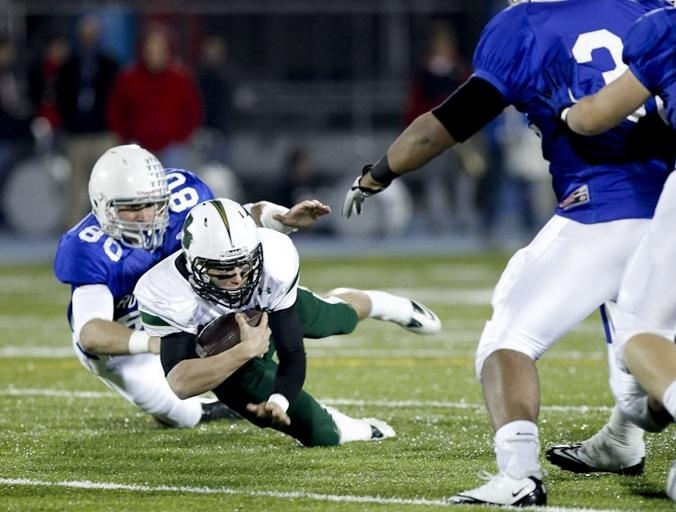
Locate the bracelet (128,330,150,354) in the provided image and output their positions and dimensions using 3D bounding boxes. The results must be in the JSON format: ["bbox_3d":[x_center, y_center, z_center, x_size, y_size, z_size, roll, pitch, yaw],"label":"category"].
[{"bbox_3d":[-0.699,0.303,3.608,0.072,0.077,0.075,3,-1,6],"label":"bracelet"}]

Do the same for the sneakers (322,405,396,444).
[{"bbox_3d":[0.095,0.612,3.691,0.191,0.059,0.144,11,47,-49],"label":"sneakers"}]

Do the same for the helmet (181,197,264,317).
[{"bbox_3d":[-0.417,-0.033,3.454,0.246,0.285,0.344,-9,44,-24],"label":"helmet"}]

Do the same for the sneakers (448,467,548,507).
[{"bbox_3d":[0.455,0.656,2.924,0.278,0.116,0.094,1,-11,7],"label":"sneakers"}]

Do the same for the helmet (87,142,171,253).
[{"bbox_3d":[-0.769,-0.250,3.841,0.274,0.328,0.381,-10,32,-29],"label":"helmet"}]

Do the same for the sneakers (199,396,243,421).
[{"bbox_3d":[-0.483,0.622,4.142,0.195,0.092,0.067,0,19,-26],"label":"sneakers"}]

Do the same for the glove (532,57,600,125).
[{"bbox_3d":[0.685,-0.523,3.068,0.154,0.204,0.081,43,-6,23],"label":"glove"}]

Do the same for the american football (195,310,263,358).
[{"bbox_3d":[-0.369,0.252,3.447,0.199,0.142,0.052,-31,86,-39],"label":"american football"}]

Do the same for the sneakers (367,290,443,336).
[{"bbox_3d":[0.281,0.236,4.234,0.296,0.111,0.164,22,34,-33],"label":"sneakers"}]

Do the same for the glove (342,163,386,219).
[{"bbox_3d":[0.092,-0.245,3.569,0.123,0.065,0.196,30,43,-7],"label":"glove"}]
